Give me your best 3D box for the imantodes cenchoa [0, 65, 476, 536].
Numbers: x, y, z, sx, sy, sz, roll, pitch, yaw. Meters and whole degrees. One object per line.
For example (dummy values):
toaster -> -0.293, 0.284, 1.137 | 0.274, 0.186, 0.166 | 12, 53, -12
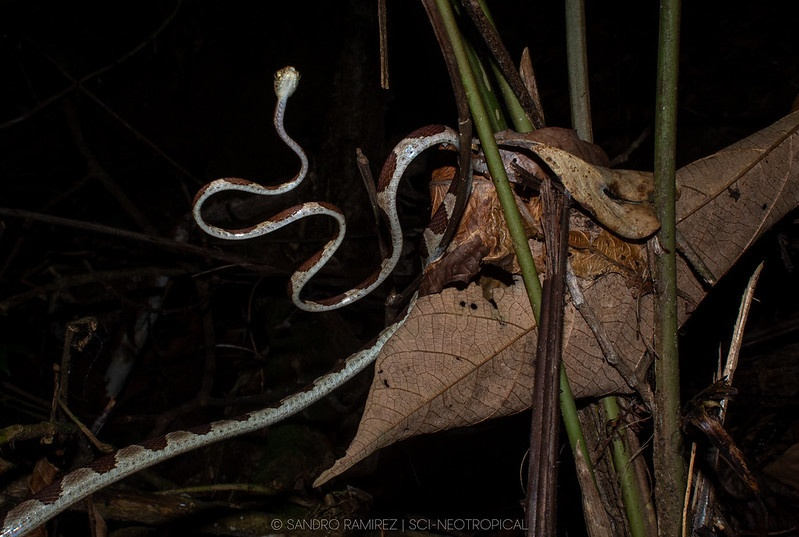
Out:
imantodes cenchoa -> -0.792, 0.127, 5.310 | 2.675, 3.055, 0.970 | -12, -32, 25
